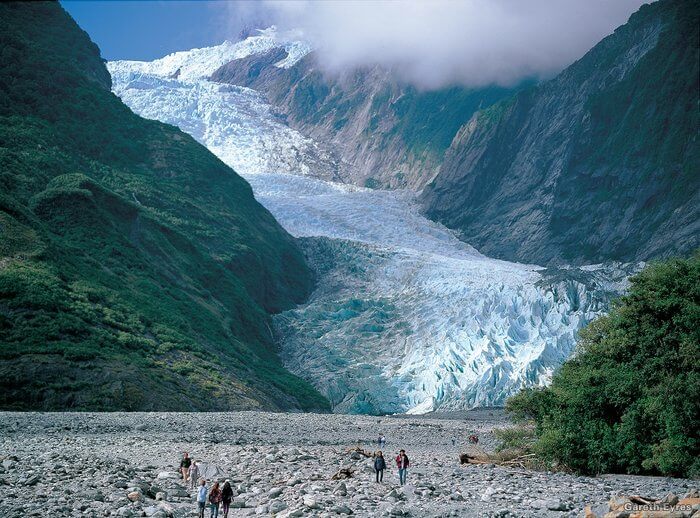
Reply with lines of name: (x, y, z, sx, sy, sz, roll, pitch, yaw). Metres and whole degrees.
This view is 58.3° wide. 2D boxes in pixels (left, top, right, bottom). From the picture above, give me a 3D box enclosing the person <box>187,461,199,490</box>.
person: (-6.463, 8.970, 26.011, 0.406, 0.970, 0.661, 3, -2, -13)
